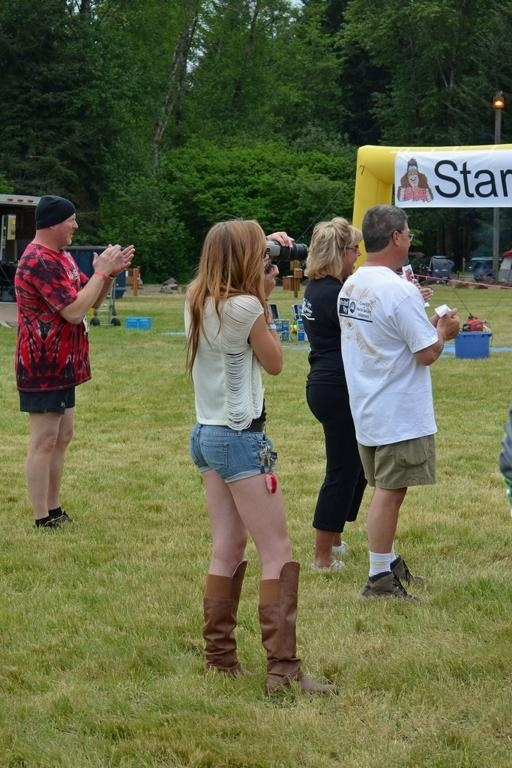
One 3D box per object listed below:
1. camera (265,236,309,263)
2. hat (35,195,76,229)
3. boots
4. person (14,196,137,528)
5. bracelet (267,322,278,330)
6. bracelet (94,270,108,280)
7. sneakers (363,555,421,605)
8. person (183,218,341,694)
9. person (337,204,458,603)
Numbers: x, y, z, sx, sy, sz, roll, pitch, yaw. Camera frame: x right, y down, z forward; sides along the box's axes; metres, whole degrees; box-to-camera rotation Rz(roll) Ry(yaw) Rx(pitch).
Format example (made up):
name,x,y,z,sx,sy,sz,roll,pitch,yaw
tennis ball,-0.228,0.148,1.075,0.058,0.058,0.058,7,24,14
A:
name,x,y,z,sx,sy,sz,roll,pitch,yaw
camera,0.111,-0.522,3.942,0.065,0.085,0.241,1,0,32
hat,-1.118,-0.970,5.607,0.222,0.182,0.183,-14,19,-29
boots,0.045,0.963,3.898,0.496,0.419,0.249,4,8,41
person,-1.066,-0.102,5.670,0.585,1.888,0.717,1,6,-13
bracelet,0.059,-0.209,3.617,0.030,0.019,0.028,-5,6,-26
bracelet,-0.830,-0.589,5.412,0.073,0.032,0.037,-1,6,-31
sneakers,0.673,0.925,4.693,0.339,0.138,0.110,-1,5,-11
person,-0.016,0.260,3.686,0.576,1.717,0.344,7,8,39
person,0.644,0.091,4.551,0.427,1.784,0.520,0,6,-24
